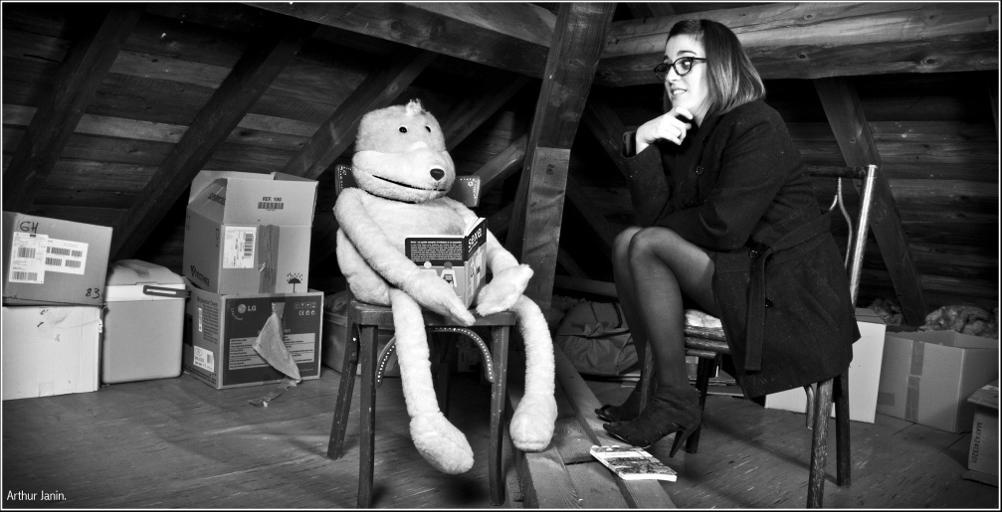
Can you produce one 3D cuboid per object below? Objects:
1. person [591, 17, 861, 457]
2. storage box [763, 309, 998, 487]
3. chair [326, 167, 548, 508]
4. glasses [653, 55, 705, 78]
[{"bbox_3d":[0.940,-0.100,2.429,0.912,1.797,0.403,1,-2,25],"label":"person"},{"bbox_3d":[2.280,0.658,3.152,0.986,0.372,0.970,3,7,42],"label":"storage box"},{"bbox_3d":[-0.312,0.318,2.618,0.877,1.420,0.639,2,-2,-14],"label":"chair"},{"bbox_3d":[0.749,-0.807,2.454,0.125,0.032,0.122,4,-8,-41],"label":"glasses"}]
